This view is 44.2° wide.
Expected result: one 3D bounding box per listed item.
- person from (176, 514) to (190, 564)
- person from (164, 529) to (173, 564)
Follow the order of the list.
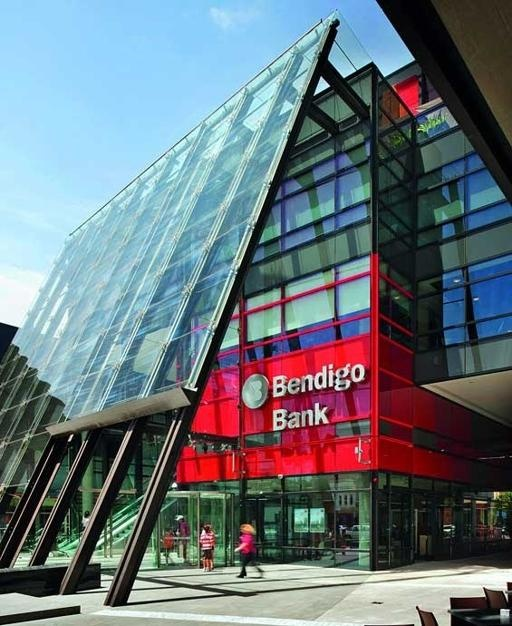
[{"bbox_3d":[-2.716,8.284,23.045,0.614,1.566,0.362,10,-25,-11],"label":"person"},{"bbox_3d":[-3.163,8.368,22.402,0.213,1.105,0.568,-7,-27,25],"label":"person"}]
